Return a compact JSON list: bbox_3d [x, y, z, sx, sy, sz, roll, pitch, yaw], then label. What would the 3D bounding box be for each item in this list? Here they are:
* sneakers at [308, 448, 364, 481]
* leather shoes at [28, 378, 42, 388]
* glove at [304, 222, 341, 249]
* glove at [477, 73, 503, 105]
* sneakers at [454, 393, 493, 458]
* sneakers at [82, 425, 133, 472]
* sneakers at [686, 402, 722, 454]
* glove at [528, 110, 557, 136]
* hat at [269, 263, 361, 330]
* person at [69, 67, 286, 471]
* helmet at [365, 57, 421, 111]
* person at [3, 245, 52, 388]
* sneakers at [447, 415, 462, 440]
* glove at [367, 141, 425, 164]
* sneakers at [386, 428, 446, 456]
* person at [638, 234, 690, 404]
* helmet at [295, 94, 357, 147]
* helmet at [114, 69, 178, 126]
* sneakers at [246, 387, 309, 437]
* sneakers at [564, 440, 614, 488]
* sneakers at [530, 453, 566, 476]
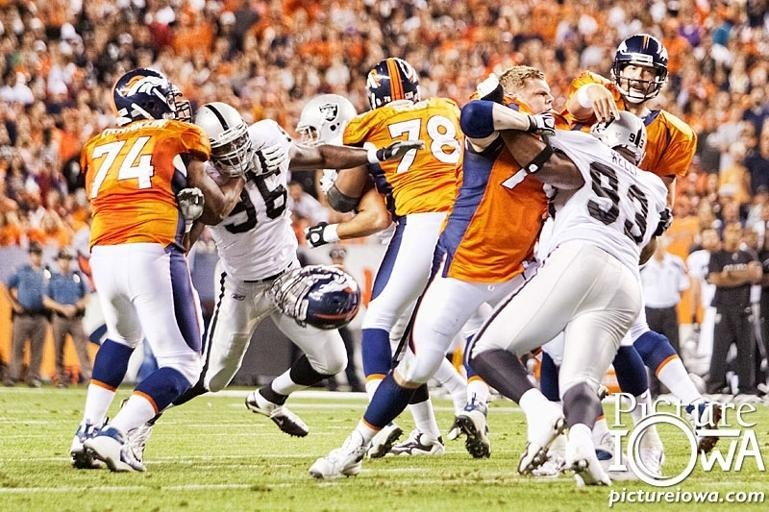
[{"bbox_3d":[-0.304,1.342,6.138,0.403,0.194,0.158,1,6,-24],"label":"sneakers"},{"bbox_3d":[-3.686,1.326,9.957,0.128,0.078,0.127,8,-7,-21],"label":"leather shoes"},{"bbox_3d":[-0.468,-0.160,7.135,0.241,0.158,0.098,-13,-6,12],"label":"glove"},{"bbox_3d":[0.684,-1.074,6.080,0.149,0.187,0.198,-25,8,-11],"label":"glove"},{"bbox_3d":[0.652,1.235,6.833,0.168,0.251,0.521,-6,-51,15],"label":"sneakers"},{"bbox_3d":[-1.788,1.241,6.164,0.162,0.206,0.427,-7,-40,43],"label":"sneakers"},{"bbox_3d":[2.239,1.146,6.602,0.151,0.448,0.194,5,-17,5],"label":"sneakers"},{"bbox_3d":[0.981,-0.821,5.898,0.142,0.149,0.062,0,-22,-9],"label":"glove"},{"bbox_3d":[-0.477,0.258,6.601,0.574,0.371,0.309,7,19,29],"label":"hat"},{"bbox_3d":[-1.623,0.057,6.411,0.963,2.756,0.387,6,-6,-9],"label":"person"},{"bbox_3d":[0.050,-1.365,7.556,0.437,0.474,0.547,-10,19,-11],"label":"helmet"},{"bbox_3d":[-3.835,0.605,10.082,0.487,1.504,0.258,7,-6,-13],"label":"person"},{"bbox_3d":[0.515,1.266,6.965,0.087,0.118,0.270,40,-11,6],"label":"sneakers"},{"bbox_3d":[0.057,-0.728,6.496,0.268,0.074,0.172,-13,14,10],"label":"glove"},{"bbox_3d":[0.232,1.402,7.117,0.440,0.209,0.161,2,-11,1],"label":"sneakers"},{"bbox_3d":[2.982,0.793,9.957,0.667,2.020,0.544,-13,-37,33],"label":"person"},{"bbox_3d":[-0.495,-1.127,7.779,0.534,0.469,0.424,-7,2,3],"label":"helmet"},{"bbox_3d":[-1.667,-1.103,6.591,0.423,0.360,0.336,-16,9,-29],"label":"helmet"},{"bbox_3d":[-0.821,1.238,7.460,0.581,0.252,0.263,34,19,-19],"label":"sneakers"},{"bbox_3d":[1.291,1.316,5.944,0.192,0.251,0.562,-17,-21,8],"label":"sneakers"},{"bbox_3d":[1.129,1.414,6.458,0.128,0.159,0.364,-2,-12,22],"label":"sneakers"}]
